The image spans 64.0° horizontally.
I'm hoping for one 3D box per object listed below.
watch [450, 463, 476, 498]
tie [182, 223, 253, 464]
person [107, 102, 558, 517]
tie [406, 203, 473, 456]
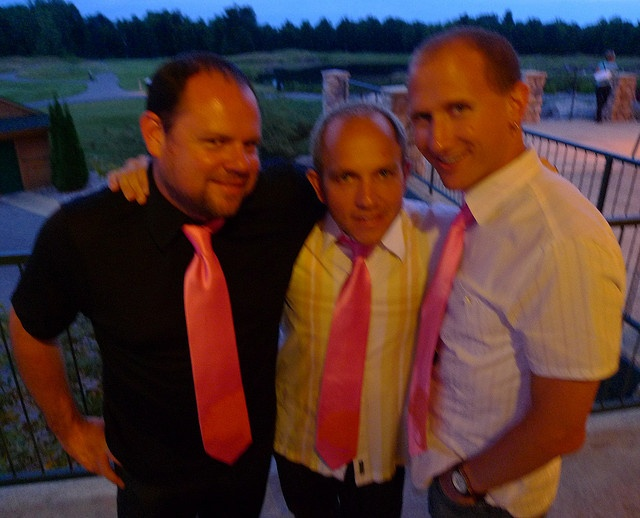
[{"bbox_3d":[0.516,0.803,1.861,0.026,0.074,0.105,11,38,-45],"label":"watch"},{"bbox_3d":[-0.433,0.354,2.072,0.195,0.974,0.249,-9,19,-18],"label":"tie"},{"bbox_3d":[0.022,0.217,1.967,1.357,1.919,0.541,-2,4,-11],"label":"person"},{"bbox_3d":[0.406,0.267,1.856,0.131,1.363,0.127,4,2,-31],"label":"tie"}]
